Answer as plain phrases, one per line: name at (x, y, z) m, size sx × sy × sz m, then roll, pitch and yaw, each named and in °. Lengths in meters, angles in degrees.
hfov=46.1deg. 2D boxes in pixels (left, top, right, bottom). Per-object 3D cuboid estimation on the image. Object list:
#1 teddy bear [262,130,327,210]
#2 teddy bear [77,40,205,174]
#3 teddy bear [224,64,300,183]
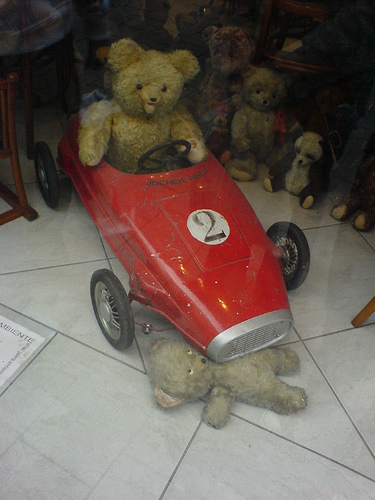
teddy bear at (0.550, -0.403, 2.148) m, size 0.294 × 0.305 × 0.256 m, roll 28°, pitch 46°, yaw 28°
teddy bear at (-0.159, -0.510, 1.585) m, size 0.481 × 0.496 × 0.271 m, roll 0°, pitch 43°, yaw -7°
teddy bear at (0.342, -0.596, 2.060) m, size 0.402 × 0.514 × 0.343 m, roll -6°, pitch 70°, yaw -4°
